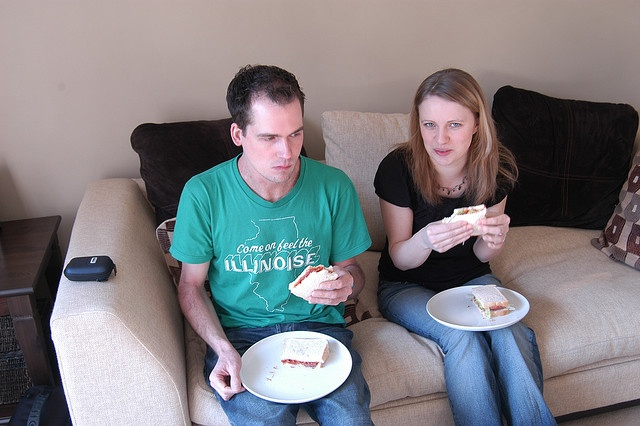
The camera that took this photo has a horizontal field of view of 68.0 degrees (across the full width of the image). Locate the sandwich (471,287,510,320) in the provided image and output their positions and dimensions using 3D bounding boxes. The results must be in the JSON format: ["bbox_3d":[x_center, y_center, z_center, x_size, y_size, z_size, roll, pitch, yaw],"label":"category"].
[{"bbox_3d":[0.796,0.437,2.238,0.125,0.057,0.201,-7,-1,-1],"label":"sandwich"}]

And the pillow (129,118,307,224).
[{"bbox_3d":[-0.750,-0.262,2.493,0.578,0.546,0.165,-4,-12,-5],"label":"pillow"}]

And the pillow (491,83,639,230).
[{"bbox_3d":[1.511,-0.324,3.001,0.906,0.880,0.267,1,7,-6],"label":"pillow"}]

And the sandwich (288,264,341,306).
[{"bbox_3d":[-0.027,0.283,1.988,0.162,0.163,0.065,-40,40,6],"label":"sandwich"}]

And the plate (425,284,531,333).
[{"bbox_3d":[0.717,0.450,2.194,0.287,0.032,0.282,-1,24,16],"label":"plate"}]

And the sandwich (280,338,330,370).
[{"bbox_3d":[-0.059,0.589,1.992,0.168,0.056,0.107,5,35,2],"label":"sandwich"}]
